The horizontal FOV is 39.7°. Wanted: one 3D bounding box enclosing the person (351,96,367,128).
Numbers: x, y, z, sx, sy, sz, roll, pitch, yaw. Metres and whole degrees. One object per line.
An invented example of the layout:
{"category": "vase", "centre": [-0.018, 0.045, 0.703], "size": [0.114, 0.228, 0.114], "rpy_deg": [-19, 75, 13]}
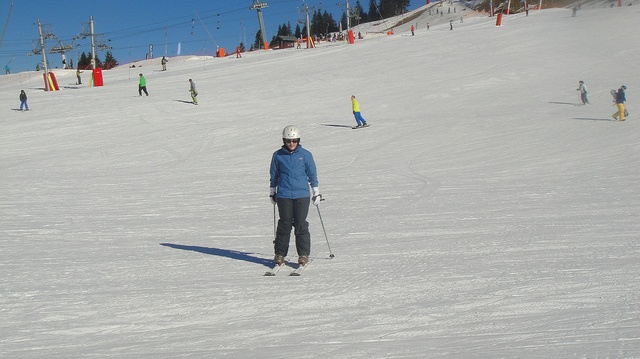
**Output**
{"category": "person", "centre": [2.248, -3.934, 51.608], "size": [0.715, 1.864, 1.277], "rpy_deg": [-8, 10, 4]}

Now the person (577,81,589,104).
{"category": "person", "centre": [15.622, -5.167, 52.900], "size": [0.575, 1.404, 1.567], "rpy_deg": [-5, 9, 17]}
